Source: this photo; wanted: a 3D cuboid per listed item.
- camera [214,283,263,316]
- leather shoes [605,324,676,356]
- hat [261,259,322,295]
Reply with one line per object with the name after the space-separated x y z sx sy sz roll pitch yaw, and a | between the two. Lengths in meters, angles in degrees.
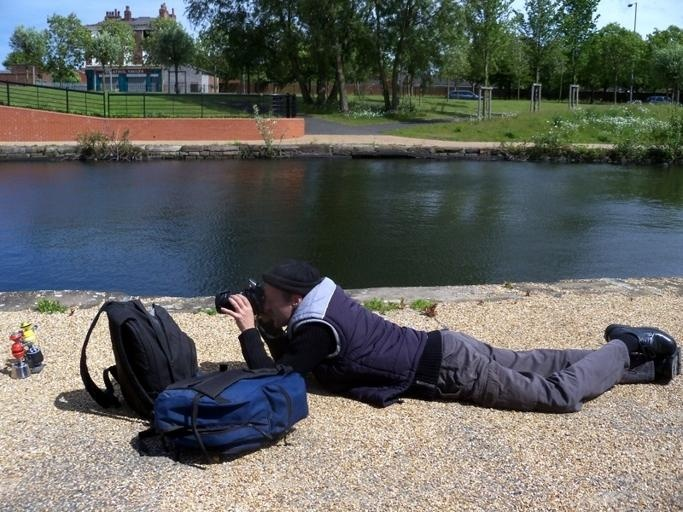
-0.731 0.287 5.144 0.273 0.164 0.257 3 21 0 | camera
2.348 0.613 5.569 0.538 0.233 0.230 5 19 39 | leather shoes
-0.344 0.144 4.962 0.305 0.120 0.245 -4 27 -17 | hat
